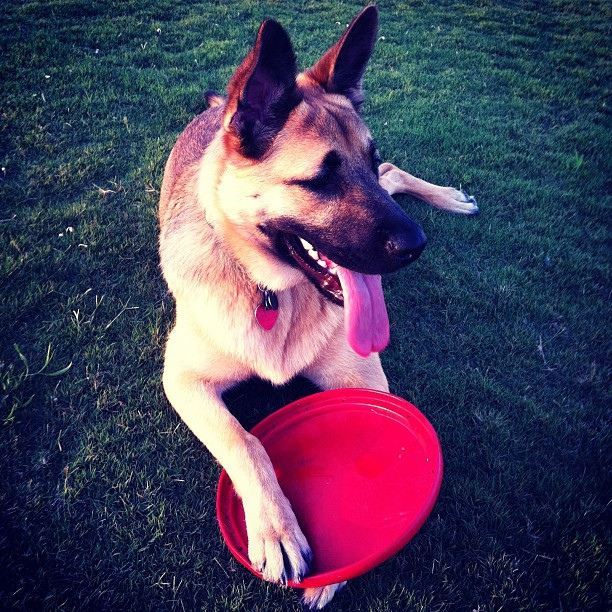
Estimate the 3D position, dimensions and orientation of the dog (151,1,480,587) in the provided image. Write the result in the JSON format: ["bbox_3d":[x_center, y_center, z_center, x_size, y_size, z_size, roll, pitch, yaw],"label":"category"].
[{"bbox_3d":[-0.172,-0.300,4.364,1.919,1.679,3.196,-18,56,-16],"label":"dog"}]
